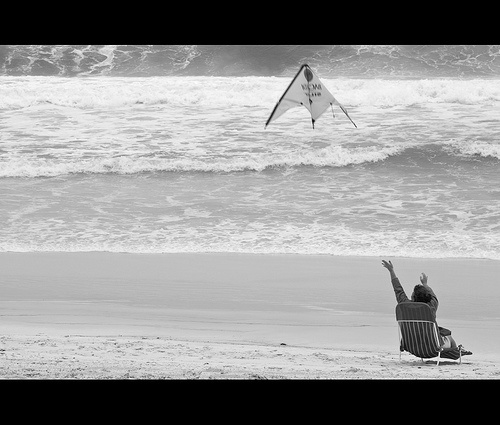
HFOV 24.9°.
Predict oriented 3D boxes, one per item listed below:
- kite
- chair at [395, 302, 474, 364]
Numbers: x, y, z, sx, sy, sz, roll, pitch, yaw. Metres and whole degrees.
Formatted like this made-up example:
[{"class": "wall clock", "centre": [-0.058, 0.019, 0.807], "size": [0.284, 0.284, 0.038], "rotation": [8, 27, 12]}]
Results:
[{"class": "kite", "centre": [1.390, -2.575, 24.372], "size": [2.341, 1.370, 1.210], "rotation": [-6, -52, 1]}, {"class": "chair", "centre": [2.742, 1.883, 16.708], "size": [0.759, 0.694, 1.286], "rotation": [-7, -26, 45]}]
